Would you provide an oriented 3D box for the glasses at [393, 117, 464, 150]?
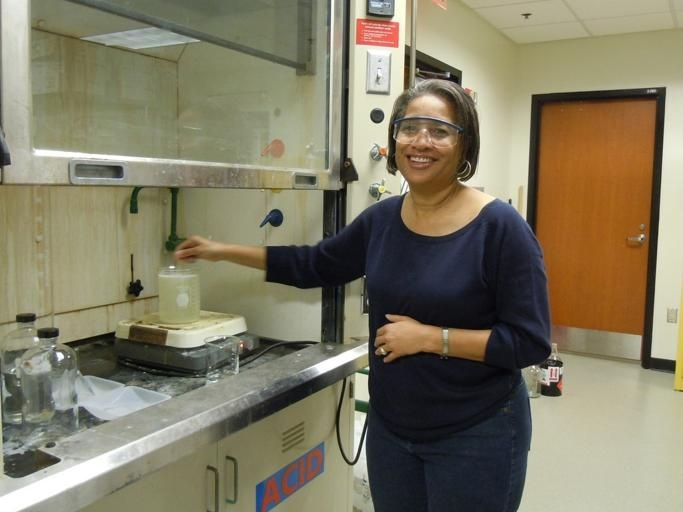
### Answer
[{"bbox_3d":[0.229,-0.336,1.508,0.198,0.082,0.104,3,7,17],"label":"glasses"}]

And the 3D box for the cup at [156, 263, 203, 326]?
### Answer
[{"bbox_3d":[-0.564,0.134,1.920,0.153,0.178,0.159,1,2,0],"label":"cup"}]

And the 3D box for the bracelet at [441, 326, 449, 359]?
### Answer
[{"bbox_3d":[0.275,0.231,1.461,0.019,0.079,0.016,1,7,2],"label":"bracelet"}]

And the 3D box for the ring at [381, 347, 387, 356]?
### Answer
[{"bbox_3d":[0.117,0.269,1.547,0.006,0.019,0.019,-39,6,-40],"label":"ring"}]
